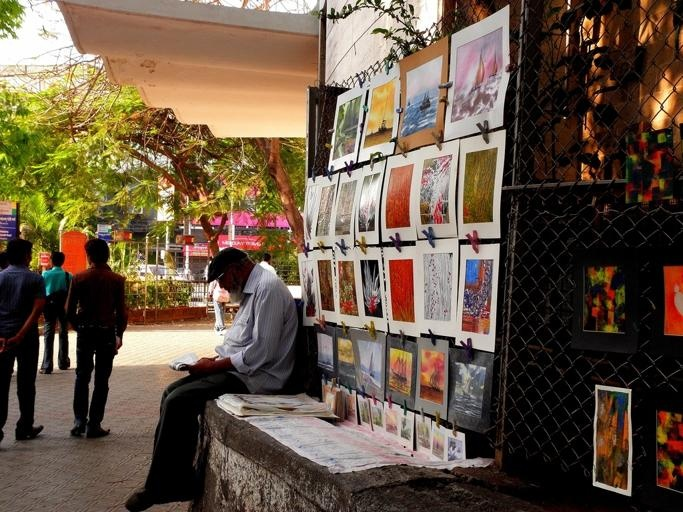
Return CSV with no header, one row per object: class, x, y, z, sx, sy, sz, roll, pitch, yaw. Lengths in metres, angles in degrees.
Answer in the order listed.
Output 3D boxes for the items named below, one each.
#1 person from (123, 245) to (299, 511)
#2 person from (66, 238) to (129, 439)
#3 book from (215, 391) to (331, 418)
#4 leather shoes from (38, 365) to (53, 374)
person,-1.030,0.987,4.621,1.410,2.130,0.602,1,-1,-32
person,-3.034,1.023,6.655,0.673,2.444,0.350,1,-1,-30
book,-0.532,1.173,4.226,0.881,0.131,0.672,1,-2,-17
leather shoes,-5.791,2.257,10.488,0.312,0.152,0.107,1,-4,31
